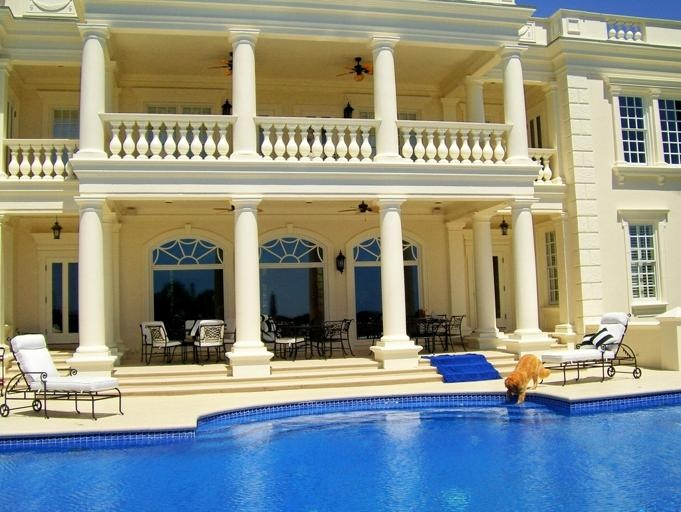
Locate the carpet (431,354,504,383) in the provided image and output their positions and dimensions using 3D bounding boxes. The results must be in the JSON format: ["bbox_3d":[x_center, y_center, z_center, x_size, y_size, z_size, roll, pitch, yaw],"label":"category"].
[{"bbox_3d":[2.920,2.601,15.619,1.490,0.362,1.295,-2,6,-18],"label":"carpet"}]

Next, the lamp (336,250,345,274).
[{"bbox_3d":[0.047,0.176,19.297,0.321,0.670,0.243,-3,6,-17],"label":"lamp"}]

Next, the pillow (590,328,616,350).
[{"bbox_3d":[5.883,1.853,15.009,0.399,0.121,0.413,-30,26,17],"label":"pillow"}]

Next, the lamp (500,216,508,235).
[{"bbox_3d":[5.098,-0.896,20.783,0.286,0.571,0.731,1,6,13],"label":"lamp"}]

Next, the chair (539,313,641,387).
[{"bbox_3d":[5.652,2.067,15.232,1.981,1.442,1.240,-3,-3,-9],"label":"chair"}]

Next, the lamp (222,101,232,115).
[{"bbox_3d":[-3.166,-4.174,18.752,0.268,0.448,0.391,-2,6,-12],"label":"lamp"}]

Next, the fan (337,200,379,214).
[{"bbox_3d":[0.584,-1.391,19.320,0.844,0.357,0.809,4,7,40],"label":"fan"}]

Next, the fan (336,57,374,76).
[{"bbox_3d":[0.450,-4.952,17.678,0.586,0.238,0.644,2,-1,16],"label":"fan"}]

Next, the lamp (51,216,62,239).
[{"bbox_3d":[-7.591,-0.719,17.974,0.276,0.600,0.769,-3,6,-22],"label":"lamp"}]

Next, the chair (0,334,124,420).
[{"bbox_3d":[-5.351,2.361,13.191,2.422,1.618,1.698,-2,-6,15],"label":"chair"}]

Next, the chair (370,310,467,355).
[{"bbox_3d":[2.733,2.116,18.776,1.572,1.442,0.958,1,-12,1],"label":"chair"}]
